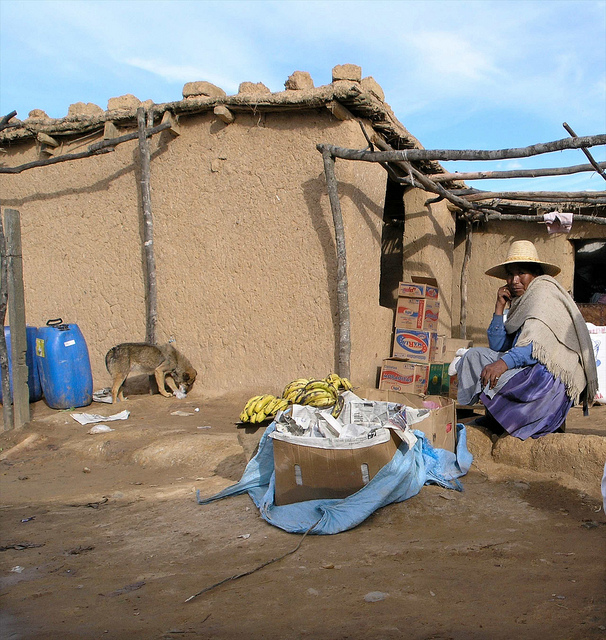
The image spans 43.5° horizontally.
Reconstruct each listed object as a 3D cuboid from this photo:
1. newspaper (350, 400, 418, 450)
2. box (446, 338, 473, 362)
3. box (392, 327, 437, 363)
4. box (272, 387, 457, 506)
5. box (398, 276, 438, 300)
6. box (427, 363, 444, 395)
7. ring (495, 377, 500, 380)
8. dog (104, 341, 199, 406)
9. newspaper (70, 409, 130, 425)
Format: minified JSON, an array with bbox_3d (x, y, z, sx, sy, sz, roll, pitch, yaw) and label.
[{"bbox_3d":[0.517,0.664,4.898,0.392,0.234,0.418,2,7,10],"label":"newspaper"},{"bbox_3d":[1.873,0.326,9.167,0.382,0.252,0.350,0,0,9],"label":"box"},{"bbox_3d":[1.178,0.246,8.120,0.424,0.375,0.301,9,3,18],"label":"box"},{"bbox_3d":[0.463,0.802,5.172,0.844,0.525,1.422,-1,10,28],"label":"box"},{"bbox_3d":[1.257,-0.343,8.253,0.384,0.232,0.279,6,-1,28],"label":"box"},{"bbox_3d":[1.390,0.626,8.086,0.215,0.345,0.377,0,2,14],"label":"box"},{"bbox_3d":[1.374,0.416,5.405,0.022,0.011,0.027,-1,7,-28],"label":"ring"},{"bbox_3d":[-1.651,0.543,8.411,0.963,0.681,0.612,-7,10,-9],"label":"dog"},{"bbox_3d":[-2.052,0.977,7.609,0.603,0.058,0.351,-6,8,-5],"label":"newspaper"}]
